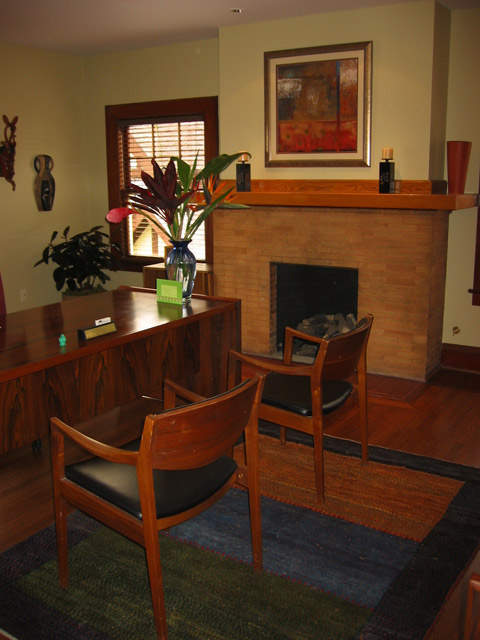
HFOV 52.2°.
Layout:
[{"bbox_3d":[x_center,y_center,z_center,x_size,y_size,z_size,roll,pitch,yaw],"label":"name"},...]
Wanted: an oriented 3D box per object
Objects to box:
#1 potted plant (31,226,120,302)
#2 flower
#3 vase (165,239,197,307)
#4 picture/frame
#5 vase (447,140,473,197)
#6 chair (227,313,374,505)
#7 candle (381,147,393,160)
[{"bbox_3d":[-1.618,-0.623,5.073,0.792,0.771,0.660,-3,14,-8],"label":"potted plant"},{"bbox_3d":[-0.241,-0.540,2.150,0.537,0.320,0.477,2,29,10],"label":"flower"},{"bbox_3d":[-0.274,-0.230,2.256,0.139,0.288,0.132,18,29,33],"label":"vase"},{"bbox_3d":[0.620,-1.649,3.682,0.878,0.978,0.078,8,18,29],"label":"picture/frame"},{"bbox_3d":[1.467,-1.027,3.315,0.145,0.363,0.189,5,8,37],"label":"vase"},{"bbox_3d":[0.261,0.223,2.270,0.642,0.999,0.717,8,15,27],"label":"chair"},{"bbox_3d":[0.996,-1.114,3.296,0.071,0.089,0.076,-1,10,1],"label":"candle"}]
